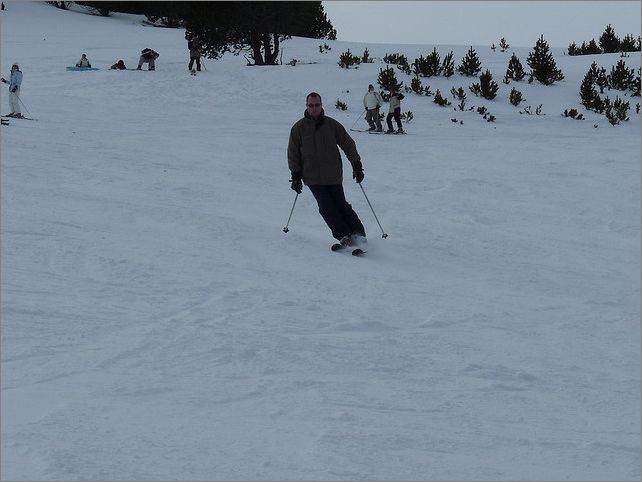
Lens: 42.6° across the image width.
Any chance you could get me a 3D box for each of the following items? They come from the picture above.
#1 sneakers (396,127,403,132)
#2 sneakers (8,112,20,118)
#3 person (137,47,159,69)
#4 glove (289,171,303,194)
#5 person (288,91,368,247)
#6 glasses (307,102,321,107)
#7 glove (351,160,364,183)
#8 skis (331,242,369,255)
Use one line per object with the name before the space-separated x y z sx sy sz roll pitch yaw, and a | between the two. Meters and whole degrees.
sneakers | 1.726 -2.355 17.642 0.165 0.111 0.229 5 14 6
sneakers | -5.907 -2.417 15.885 0.168 0.071 0.211 -3 4 -24
person | -5.345 -5.566 25.252 0.542 0.595 1.214 2 14 -11
glove | -0.309 -0.734 10.479 0.216 0.245 0.098 -8 -9 10
person | 0.101 -0.899 10.455 1.107 1.898 0.607 5 15 2
glasses | -0.080 -1.684 10.254 0.159 0.059 0.084 2 14 -7
glove | 0.486 -0.870 10.462 0.126 0.236 0.181 2 10 15
skis | 0.371 0.099 10.398 0.446 0.108 0.291 10 15 24
